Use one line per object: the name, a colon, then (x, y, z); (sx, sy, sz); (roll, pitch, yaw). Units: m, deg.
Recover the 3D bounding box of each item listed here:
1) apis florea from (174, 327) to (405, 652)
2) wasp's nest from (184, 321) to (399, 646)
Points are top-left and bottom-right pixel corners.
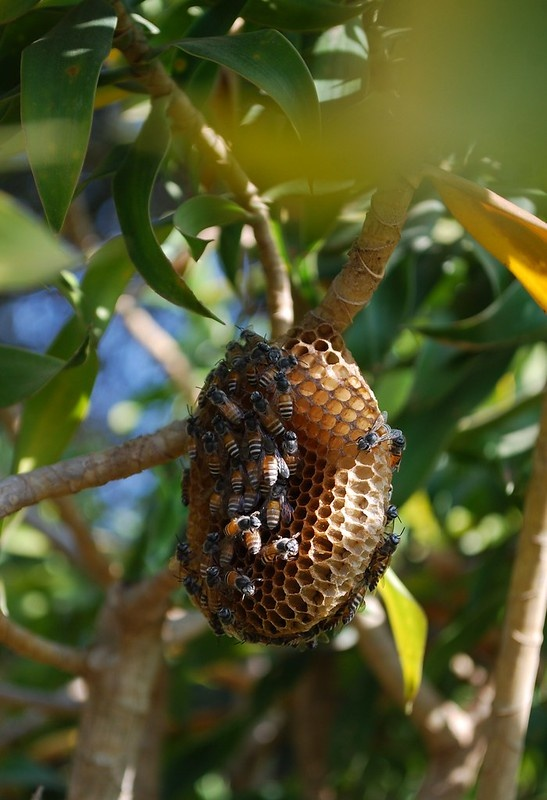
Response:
apis florea: (0.024, 0.122, 1.244); (0.402, 0.137, 0.463); (-4, 88, 13)
wasp's nest: (0.050, 0.125, 1.302); (0.397, 0.182, 0.459); (-4, 89, 17)
